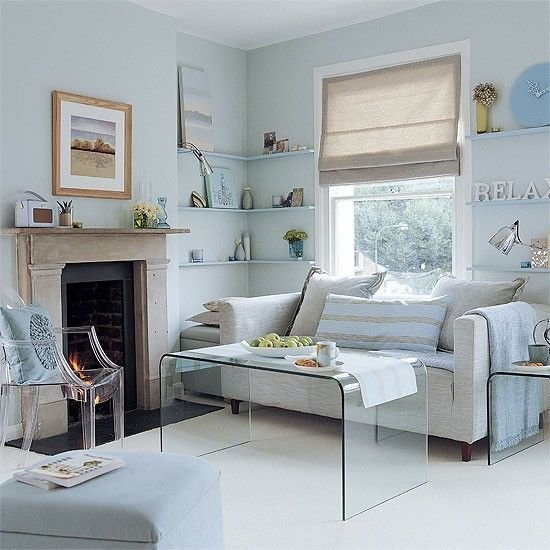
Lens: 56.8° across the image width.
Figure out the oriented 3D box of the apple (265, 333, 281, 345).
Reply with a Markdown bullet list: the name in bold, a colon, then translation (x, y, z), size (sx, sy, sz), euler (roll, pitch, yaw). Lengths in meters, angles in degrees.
- **apple**: translation (-0.009, 0.333, 2.630), size (0.047, 0.045, 0.061), euler (-5, -11, -15)

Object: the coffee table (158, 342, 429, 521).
- **coffee table**: translation (0.102, 0.700, 2.660), size (1.263, 0.742, 0.900), euler (-1, -1, 41)

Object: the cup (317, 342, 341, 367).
- **cup**: translation (0.228, 0.355, 2.248), size (0.084, 0.102, 0.122), euler (-1, 1, -21)

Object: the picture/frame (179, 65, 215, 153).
- **picture/frame**: translation (-0.709, -1.471, 4.526), size (0.058, 0.675, 0.329), euler (-1, 0, 43)

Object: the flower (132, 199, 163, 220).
- **flower**: translation (-0.949, -0.491, 3.784), size (0.207, 0.125, 0.131), euler (-1, -1, -14)

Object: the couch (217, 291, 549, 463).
- **couch**: translation (0.973, 0.582, 2.960), size (1.270, 0.536, 0.657), euler (-1, -3, 40)

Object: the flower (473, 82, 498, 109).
- **flower**: translation (1.514, -1.307, 3.685), size (0.180, 0.197, 0.102), euler (-1, 0, 33)

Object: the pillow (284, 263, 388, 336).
- **pillow**: translation (0.474, 0.191, 3.736), size (0.588, 0.465, 0.275), euler (-4, -12, 44)

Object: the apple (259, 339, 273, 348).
- **apple**: translation (-0.047, 0.347, 2.563), size (0.038, 0.020, 0.038), euler (4, 1, 44)

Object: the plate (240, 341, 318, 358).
- **plate**: translation (-0.005, 0.383, 2.596), size (0.411, 0.074, 0.141), euler (-1, -1, 31)

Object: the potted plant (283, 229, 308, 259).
- **potted plant**: translation (0.190, -0.285, 4.660), size (0.292, 0.290, 0.257), euler (-1, -1, -3)
